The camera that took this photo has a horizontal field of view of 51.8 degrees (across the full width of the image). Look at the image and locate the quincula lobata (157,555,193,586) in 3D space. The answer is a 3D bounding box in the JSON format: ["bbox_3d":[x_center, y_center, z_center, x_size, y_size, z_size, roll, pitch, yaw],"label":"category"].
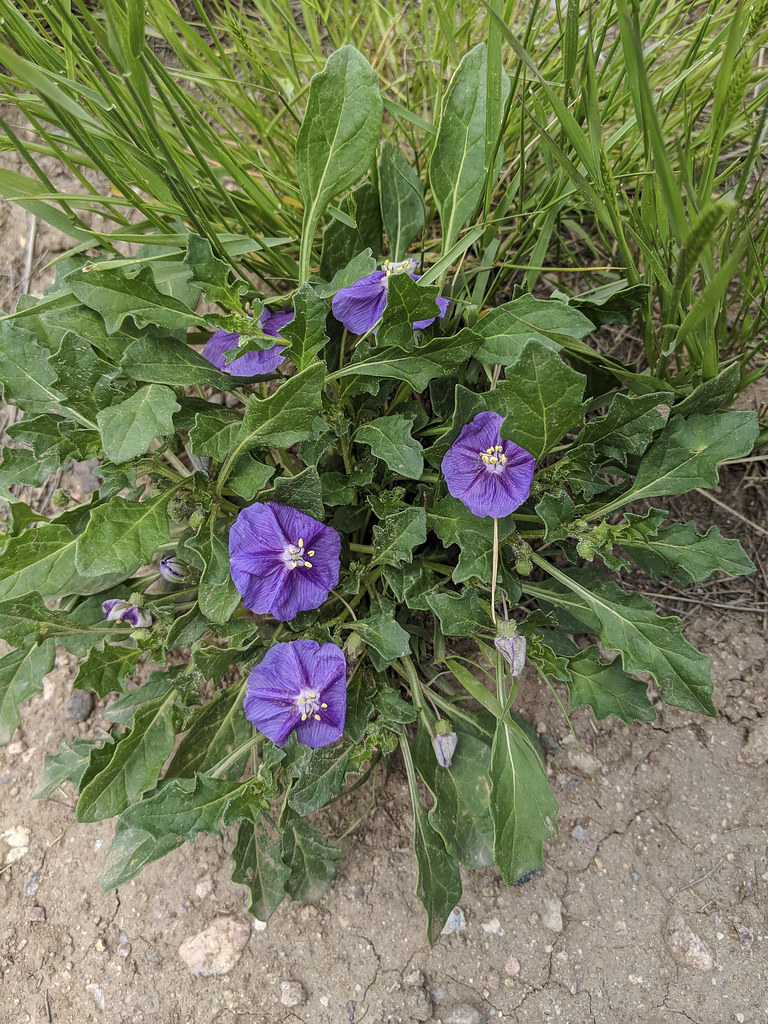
[{"bbox_3d":[-0.616,0.178,2.295,0.054,0.108,0.064,-42,46,10],"label":"quincula lobata"}]

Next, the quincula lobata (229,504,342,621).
[{"bbox_3d":[-0.242,0.109,1.967,0.287,0.264,0.094,28,25,-28],"label":"quincula lobata"}]

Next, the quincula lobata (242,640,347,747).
[{"bbox_3d":[-0.219,0.448,1.954,0.248,0.145,0.236,-4,51,-3],"label":"quincula lobata"}]

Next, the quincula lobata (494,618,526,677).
[{"bbox_3d":[0.300,0.332,1.922,0.087,0.047,0.127,-5,83,-4],"label":"quincula lobata"}]

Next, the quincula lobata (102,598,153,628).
[{"bbox_3d":[-0.716,0.263,2.188,0.114,0.083,0.047,12,66,31],"label":"quincula lobata"}]

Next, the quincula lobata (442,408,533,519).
[{"bbox_3d":[0.257,-0.110,1.923,0.218,0.138,0.207,34,59,24],"label":"quincula lobata"}]
